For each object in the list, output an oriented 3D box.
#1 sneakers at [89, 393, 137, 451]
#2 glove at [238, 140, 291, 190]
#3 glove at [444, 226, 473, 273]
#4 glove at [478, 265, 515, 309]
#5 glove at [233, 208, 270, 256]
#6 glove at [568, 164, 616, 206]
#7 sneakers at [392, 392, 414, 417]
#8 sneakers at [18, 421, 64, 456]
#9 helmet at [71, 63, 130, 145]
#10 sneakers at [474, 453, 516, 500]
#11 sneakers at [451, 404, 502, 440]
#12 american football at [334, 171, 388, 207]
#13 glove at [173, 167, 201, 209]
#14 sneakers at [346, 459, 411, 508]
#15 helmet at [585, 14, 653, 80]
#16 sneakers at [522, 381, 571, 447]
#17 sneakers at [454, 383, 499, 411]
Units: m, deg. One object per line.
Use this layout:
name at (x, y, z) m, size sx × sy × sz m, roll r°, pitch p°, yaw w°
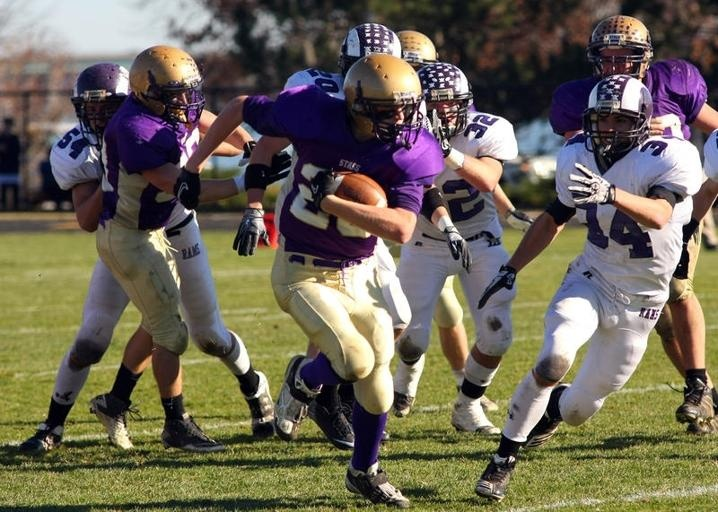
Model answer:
sneakers at (-1.626, 1.071, 7.527) m, size 0.253 × 0.335 × 0.232 m, roll -4°, pitch 12°, yaw -16°
glove at (-0.564, -0.569, 7.036) m, size 0.365 × 0.309 × 0.253 m, roll -8°, pitch 14°, yaw -31°
glove at (0.633, -0.029, 7.122) m, size 0.087 × 0.275 × 0.168 m, roll -34°, pitch 26°, yaw 1°
glove at (0.900, 0.197, 7.427) m, size 0.107 × 0.268 × 0.088 m, roll 35°, pitch 4°, yaw -17°
glove at (-0.658, -0.141, 6.972) m, size 0.210 × 0.333 × 0.356 m, roll -2°, pitch 12°, yaw -5°
glove at (1.333, -0.398, 6.722) m, size 0.301 × 0.201 × 0.119 m, roll 14°, pitch -7°, yaw -2°
sneakers at (0.302, 1.035, 8.046) m, size 0.083 × 0.234 × 0.098 m, roll 1°, pitch -2°, yaw 18°
sneakers at (-2.075, 1.175, 7.467) m, size 0.118 × 0.143 × 0.332 m, roll 10°, pitch 8°, yaw 21°
helmet at (-1.684, -0.987, 7.445) m, size 0.403 × 0.525 × 0.513 m, roll -3°, pitch 12°, yaw 4°
sneakers at (0.798, 1.279, 6.704) m, size 0.124 × 0.167 × 0.376 m, roll 28°, pitch 11°, yaw 7°
sneakers at (0.762, 1.085, 7.699) m, size 0.404 × 0.279 × 0.148 m, roll 2°, pitch 2°, yaw -2°
american football at (0.011, -0.378, 6.674) m, size 0.263 × 0.163 × 0.172 m, roll 21°, pitch -4°, yaw -1°
glove at (-1.055, -0.397, 6.989) m, size 0.173 × 0.218 × 0.187 m, roll 15°, pitch -43°, yaw -36°
sneakers at (0.081, 1.315, 6.793) m, size 0.460 × 0.208 × 0.162 m, roll 23°, pitch 42°, yaw 22°
helmet at (1.862, -1.456, 8.083) m, size 0.362 × 0.366 × 0.468 m, roll -1°, pitch 3°, yaw 17°
sneakers at (1.206, 1.041, 7.280) m, size 0.173 × 0.512 × 0.219 m, roll 43°, pitch 4°, yaw 17°
sneakers at (0.809, 0.968, 7.919) m, size 0.206 × 0.078 × 0.204 m, roll -11°, pitch -43°, yaw 43°
